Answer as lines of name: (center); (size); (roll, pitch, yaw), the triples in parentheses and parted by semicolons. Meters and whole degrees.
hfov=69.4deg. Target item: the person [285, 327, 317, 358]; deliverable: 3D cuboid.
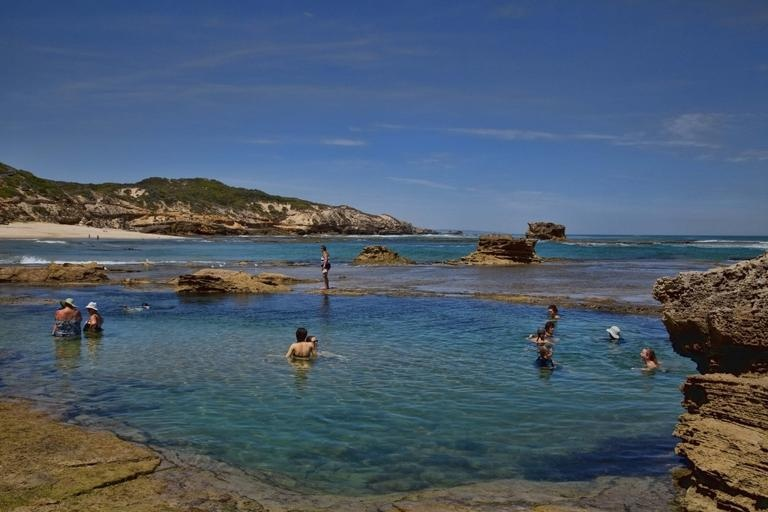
person: (-2.541, 2.713, 17.250); (0.948, 0.770, 1.025); (1, 14, -7)

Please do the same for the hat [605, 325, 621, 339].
hat: (8.213, 2.699, 19.784); (0.604, 0.225, 0.656); (5, 10, 32)

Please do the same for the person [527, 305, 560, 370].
person: (5.628, 2.853, 19.447); (1.170, 1.746, 1.017); (-15, 24, -10)
